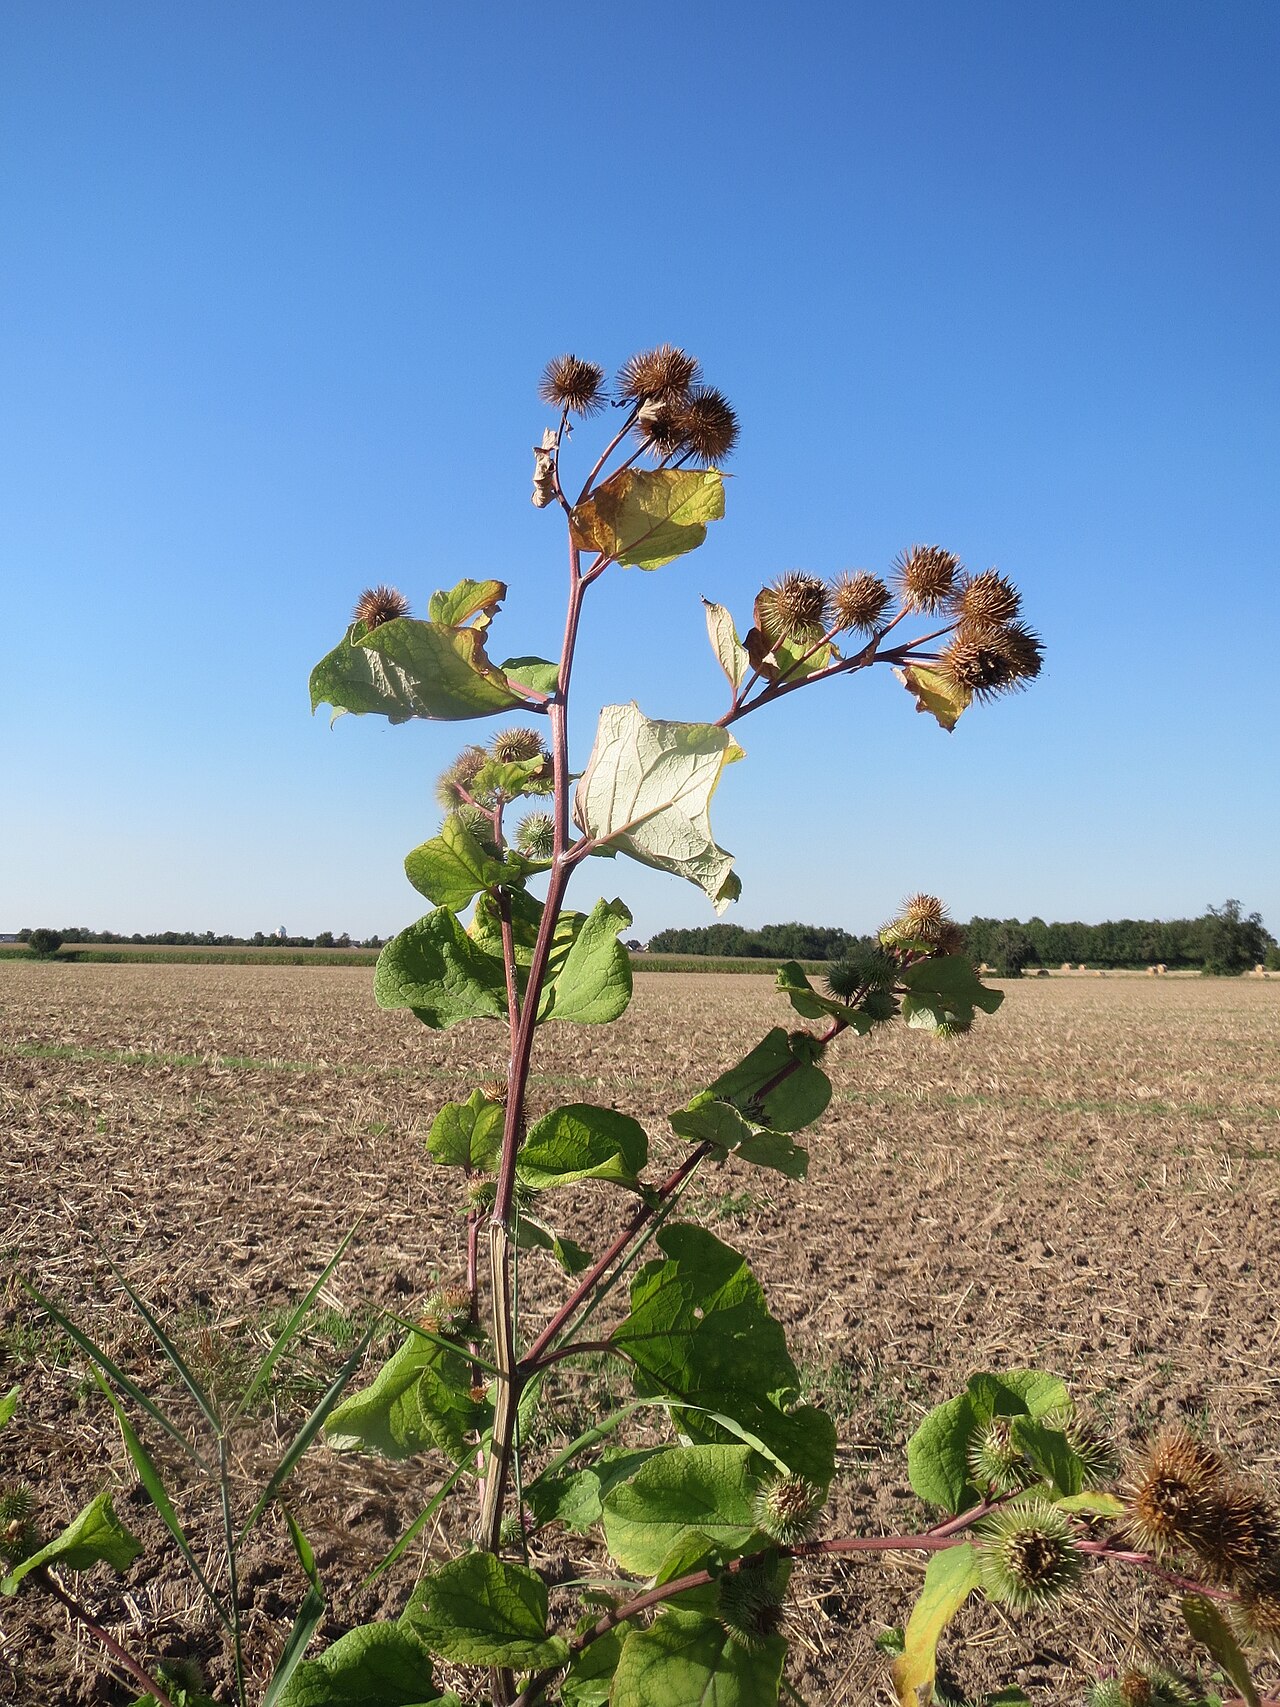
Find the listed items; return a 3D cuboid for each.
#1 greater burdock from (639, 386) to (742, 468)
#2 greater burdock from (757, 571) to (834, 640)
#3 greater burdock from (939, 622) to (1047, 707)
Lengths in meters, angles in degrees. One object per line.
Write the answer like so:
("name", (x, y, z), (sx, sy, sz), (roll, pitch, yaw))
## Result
("greater burdock", (0.070, -0.671, 2.088), (0.130, 0.111, 0.217), (4, -1, 14))
("greater burdock", (0.241, -0.386, 2.044), (0.110, 0.078, 0.187), (4, -1, -1))
("greater burdock", (0.512, -0.286, 1.954), (0.123, 0.075, 0.101), (3, -2, 22))
